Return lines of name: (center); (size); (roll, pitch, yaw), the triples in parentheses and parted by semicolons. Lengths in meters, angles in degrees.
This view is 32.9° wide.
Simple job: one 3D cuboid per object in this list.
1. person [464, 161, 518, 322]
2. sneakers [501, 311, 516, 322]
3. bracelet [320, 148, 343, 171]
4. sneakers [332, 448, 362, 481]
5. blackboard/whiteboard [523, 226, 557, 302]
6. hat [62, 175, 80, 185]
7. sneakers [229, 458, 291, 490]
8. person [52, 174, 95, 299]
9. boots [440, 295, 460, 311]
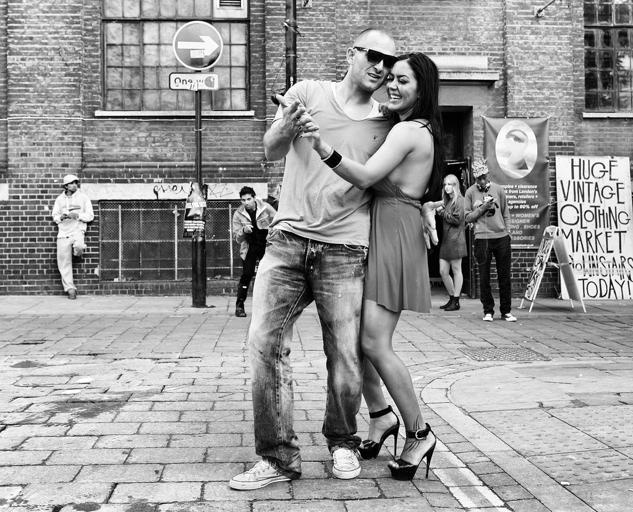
person: (2.428, -0.230, 14.971); (0.680, 2.193, 1.057); (-1, 7, 6)
sneakers: (2.651, 0.838, 14.769); (0.094, 0.097, 0.254); (0, -6, -7)
bracelet: (0.120, -0.737, 8.013); (0.142, 0.120, 0.116); (-34, -39, 6)
sneakers: (0.237, 1.598, 8.229); (0.236, 0.215, 0.207); (-2, 7, -4)
blackboard/whiteboard: (3.344, 0.164, 16.118); (0.546, 1.292, 1.124); (0, 7, 11)
hat: (-4.110, -1.274, 17.751); (0.164, 0.143, 0.234); (-17, -6, -41)
sneakers: (-0.437, 1.672, 8.146); (0.492, 0.214, 0.174); (3, 1, -22)
person: (-4.038, -0.364, 17.810); (0.603, 2.021, 0.447); (-5, 7, -27)
boots: (2.059, 0.713, 16.042); (0.356, 0.266, 0.135); (2, -1, -15)
